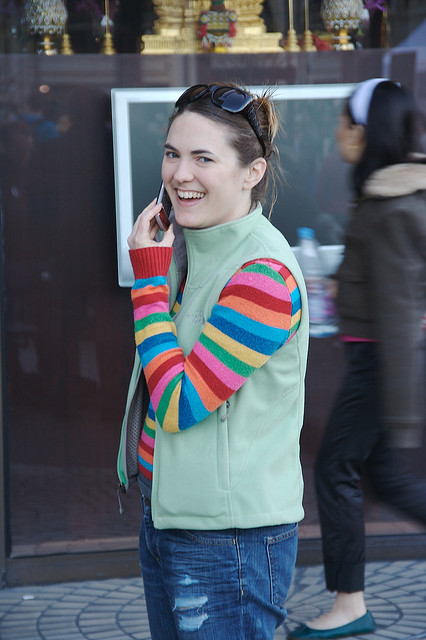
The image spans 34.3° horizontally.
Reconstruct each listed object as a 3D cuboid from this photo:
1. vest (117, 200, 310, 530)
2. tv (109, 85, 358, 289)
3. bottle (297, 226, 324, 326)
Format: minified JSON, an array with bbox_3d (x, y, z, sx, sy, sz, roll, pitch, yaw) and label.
[{"bbox_3d":[0.048,0.095,1.573,0.332,0.740,0.308,0,4,15],"label":"vest"},{"bbox_3d":[0.137,-0.671,3.327,1.273,0.898,0.132,-6,11,-17],"label":"tv"},{"bbox_3d":[0.457,-0.223,3.410,0.137,0.553,0.182,1,14,3],"label":"bottle"}]
